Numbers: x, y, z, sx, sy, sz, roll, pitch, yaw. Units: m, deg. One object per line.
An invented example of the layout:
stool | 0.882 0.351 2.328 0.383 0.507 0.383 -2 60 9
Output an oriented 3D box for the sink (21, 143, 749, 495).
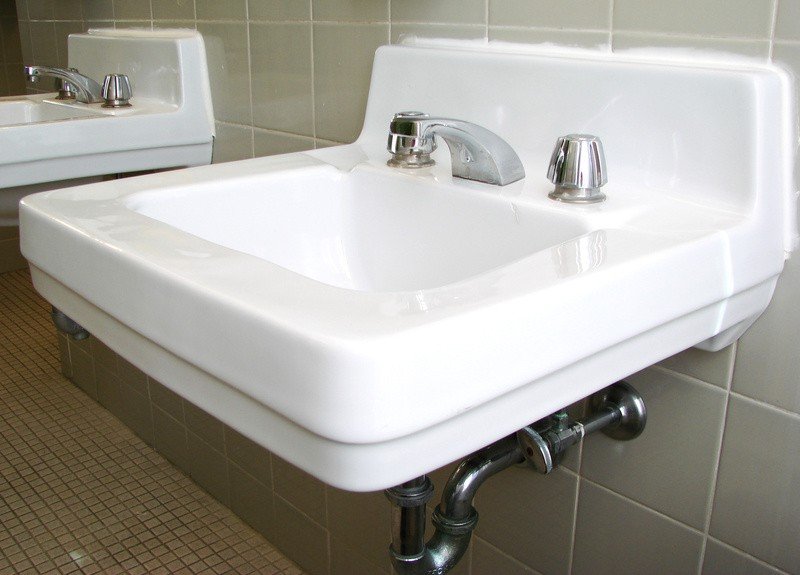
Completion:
sink | -0.031 -0.035 0.788 0.828 0.216 0.535 12 24 29

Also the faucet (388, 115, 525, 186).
faucet | 0.055 -0.209 0.925 0.229 0.095 0.086 25 40 37
